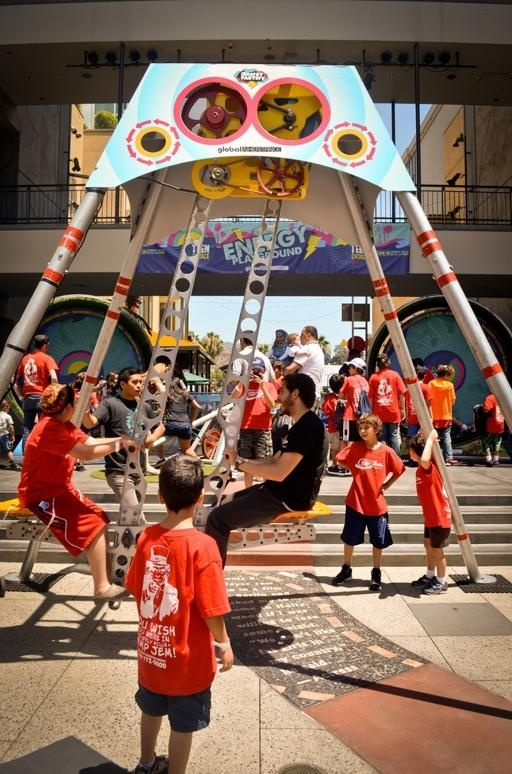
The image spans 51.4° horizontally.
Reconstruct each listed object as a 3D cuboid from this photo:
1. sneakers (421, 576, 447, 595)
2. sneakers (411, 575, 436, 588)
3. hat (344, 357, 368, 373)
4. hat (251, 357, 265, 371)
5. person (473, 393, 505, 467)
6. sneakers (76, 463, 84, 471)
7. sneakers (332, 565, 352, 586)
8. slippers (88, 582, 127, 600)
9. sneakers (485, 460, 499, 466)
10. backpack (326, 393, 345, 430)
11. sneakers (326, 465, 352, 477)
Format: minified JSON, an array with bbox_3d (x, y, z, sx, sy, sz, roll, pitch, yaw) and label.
[{"bbox_3d":[1.571,1.759,4.693,0.269,0.127,0.115,-6,-7,40],"label":"sneakers"},{"bbox_3d":[1.516,1.770,4.818,0.238,0.113,0.092,-5,-6,3],"label":"sneakers"},{"bbox_3d":[1.679,-0.389,8.921,0.305,0.170,0.229,18,-6,5],"label":"hat"},{"bbox_3d":[0.038,-0.243,6.043,0.124,0.160,0.127,1,-40,-5],"label":"hat"},{"bbox_3d":[4.642,0.843,10.640,0.553,1.465,0.910,-3,-7,25],"label":"person"},{"bbox_3d":[-3.048,1.409,9.280,0.187,0.134,0.090,-6,-7,33],"label":"sneakers"},{"bbox_3d":[0.796,1.734,4.891,0.097,0.173,0.281,-4,-7,41],"label":"sneakers"},{"bbox_3d":[-0.981,1.366,3.534,0.231,0.101,0.094,-1,1,-4],"label":"slippers"},{"bbox_3d":[4.644,1.505,10.484,0.107,0.141,0.328,-6,-12,15],"label":"sneakers"},{"bbox_3d":[1.332,0.399,8.900,0.318,0.629,0.617,-1,7,-8],"label":"backpack"},{"bbox_3d":[1.436,1.499,9.364,0.545,0.241,0.207,0,1,2],"label":"sneakers"}]
